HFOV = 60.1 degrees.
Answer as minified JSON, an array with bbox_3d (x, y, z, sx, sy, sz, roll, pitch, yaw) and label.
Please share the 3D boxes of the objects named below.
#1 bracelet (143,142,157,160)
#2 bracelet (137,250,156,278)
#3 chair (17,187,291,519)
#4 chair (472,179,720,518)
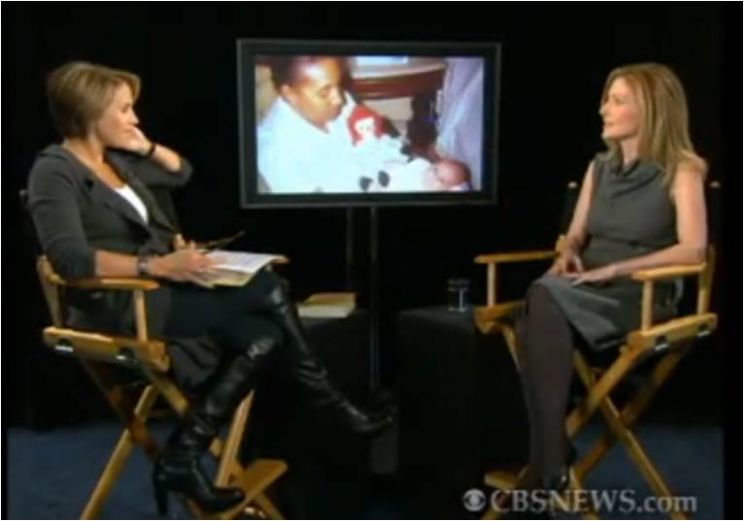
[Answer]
[{"bbox_3d":[-0.887,-0.440,2.582,0.022,0.055,0.049,25,-42,-24],"label":"bracelet"},{"bbox_3d":[-0.805,0.019,2.280,0.049,0.080,0.119,-7,11,-15],"label":"bracelet"},{"bbox_3d":[-0.569,0.379,2.904,1.145,1.551,1.156,-1,-1,2],"label":"chair"},{"bbox_3d":[0.865,0.388,2.435,0.945,1.289,0.476,-3,11,9],"label":"chair"}]
